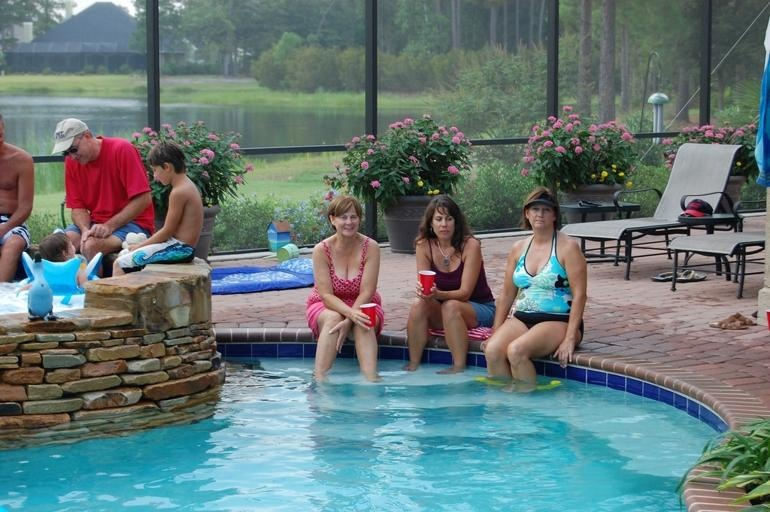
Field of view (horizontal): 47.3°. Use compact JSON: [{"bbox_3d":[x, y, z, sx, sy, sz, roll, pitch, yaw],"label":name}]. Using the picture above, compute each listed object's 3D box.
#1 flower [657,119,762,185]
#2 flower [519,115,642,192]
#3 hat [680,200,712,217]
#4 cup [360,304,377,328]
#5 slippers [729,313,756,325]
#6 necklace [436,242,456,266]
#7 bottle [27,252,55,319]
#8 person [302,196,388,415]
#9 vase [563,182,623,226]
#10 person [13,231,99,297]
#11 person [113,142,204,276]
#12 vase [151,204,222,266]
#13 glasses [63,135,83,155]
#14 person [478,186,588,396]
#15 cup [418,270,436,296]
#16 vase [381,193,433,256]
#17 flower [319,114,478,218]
[{"bbox_3d":[5.235,-1.853,14.210,1.305,0.888,1.469,0,6,8],"label":"flower"},{"bbox_3d":[2.817,-1.473,12.793,1.385,0.986,1.436,2,4,25],"label":"flower"},{"bbox_3d":[3.734,-0.572,10.553,0.306,0.128,0.209,-1,2,-32],"label":"hat"},{"bbox_3d":[-0.125,0.508,7.570,0.186,0.183,0.180,-3,3,0],"label":"cup"},{"bbox_3d":[3.319,0.601,8.240,0.238,0.091,0.142,-2,0,-40],"label":"slippers"},{"bbox_3d":[0.542,-0.024,7.739,0.199,0.250,0.098,-1,-9,-1],"label":"necklace"},{"bbox_3d":[-2.656,0.220,6.740,0.176,0.471,0.273,-6,14,-23],"label":"bottle"},{"bbox_3d":[-0.353,0.245,7.634,0.666,1.510,0.682,-1,13,-4],"label":"person"},{"bbox_3d":[2.972,-0.787,12.605,0.741,0.545,0.745,0,3,23],"label":"vase"},{"bbox_3d":[-2.857,0.053,7.825,0.587,0.424,0.735,1,13,-1],"label":"person"},{"bbox_3d":[-1.989,-0.418,7.760,0.716,1.143,0.398,-4,13,-18],"label":"person"},{"bbox_3d":[-2.444,-0.279,10.671,0.671,0.825,0.647,0,8,-16],"label":"vase"},{"bbox_3d":[-2.897,-1.015,8.200,0.148,0.053,0.187,-12,46,20],"label":"glasses"},{"bbox_3d":[1.232,0.344,7.413,0.844,1.373,0.580,-2,13,-6],"label":"person"},{"bbox_3d":[0.349,0.224,7.450,0.184,0.167,0.178,1,8,0],"label":"cup"},{"bbox_3d":[0.340,-0.392,12.090,0.770,0.594,0.740,9,-5,-44],"label":"vase"},{"bbox_3d":[0.393,-1.143,11.941,1.367,0.941,1.107,-4,17,6],"label":"flower"}]
